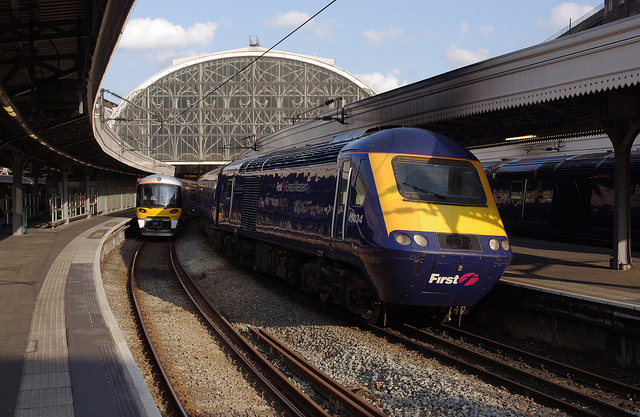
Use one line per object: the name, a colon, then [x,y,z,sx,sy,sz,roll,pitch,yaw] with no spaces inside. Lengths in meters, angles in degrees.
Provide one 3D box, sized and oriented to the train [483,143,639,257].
train: [10.942,-0.605,22.585,3.177,3.847,12.191,-1,3,-12]
